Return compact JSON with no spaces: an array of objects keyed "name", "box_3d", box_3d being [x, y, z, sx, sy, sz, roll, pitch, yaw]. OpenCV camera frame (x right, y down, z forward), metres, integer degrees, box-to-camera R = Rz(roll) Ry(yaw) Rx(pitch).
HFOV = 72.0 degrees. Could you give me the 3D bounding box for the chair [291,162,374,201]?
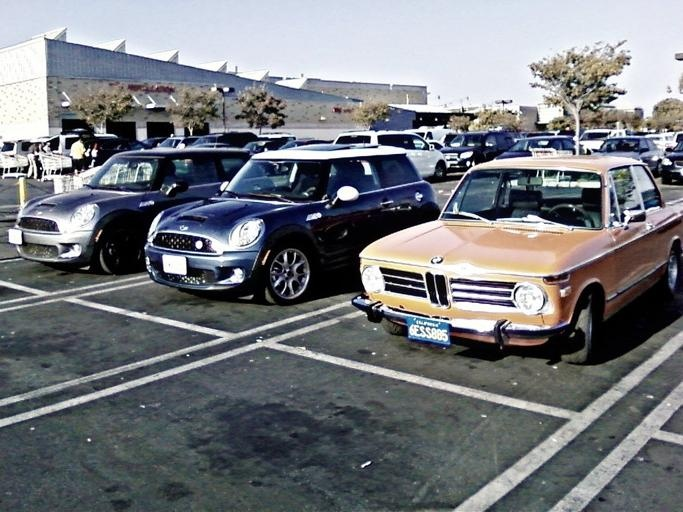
[{"name":"chair","box_3d":[-0.047,-1.243,7.610,1.337,0.402,0.718,-7,14,-31]}]
